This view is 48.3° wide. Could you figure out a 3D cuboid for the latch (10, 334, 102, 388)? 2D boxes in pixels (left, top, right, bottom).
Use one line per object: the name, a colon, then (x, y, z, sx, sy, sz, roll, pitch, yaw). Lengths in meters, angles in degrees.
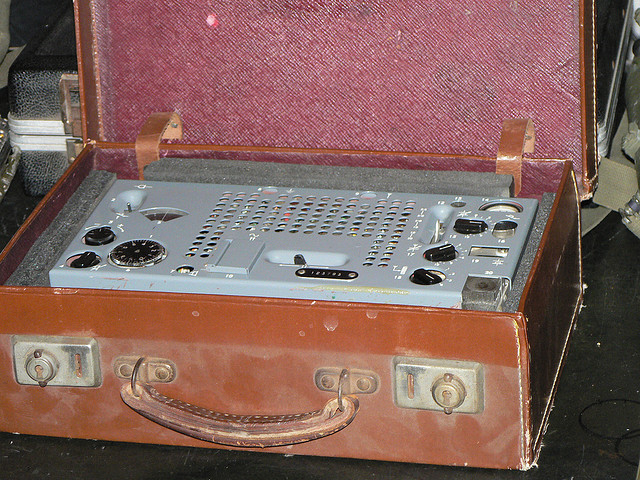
latch: (-0.325, 0.151, 0.870, 0.122, 0.064, 0.034, 1, 15, 13)
